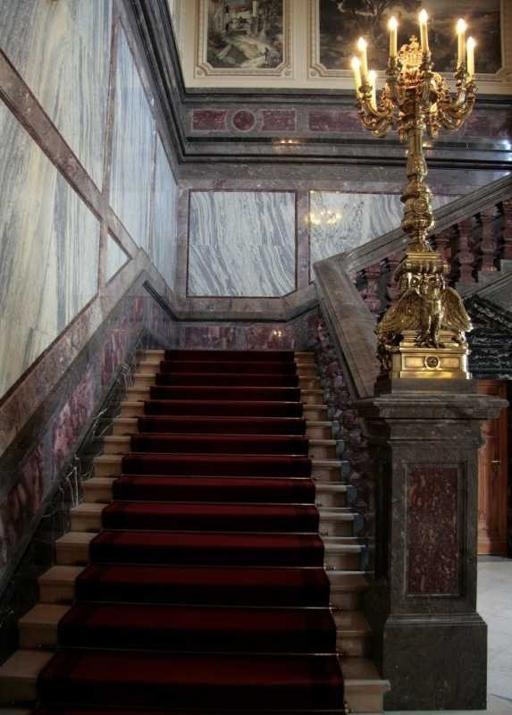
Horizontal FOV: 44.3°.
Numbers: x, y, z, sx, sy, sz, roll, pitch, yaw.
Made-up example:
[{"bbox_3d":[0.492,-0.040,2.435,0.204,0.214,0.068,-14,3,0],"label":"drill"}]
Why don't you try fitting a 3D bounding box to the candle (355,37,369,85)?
[{"bbox_3d":[0.502,-1.363,2.905,0.034,0.195,0.035,8,19,44],"label":"candle"}]
